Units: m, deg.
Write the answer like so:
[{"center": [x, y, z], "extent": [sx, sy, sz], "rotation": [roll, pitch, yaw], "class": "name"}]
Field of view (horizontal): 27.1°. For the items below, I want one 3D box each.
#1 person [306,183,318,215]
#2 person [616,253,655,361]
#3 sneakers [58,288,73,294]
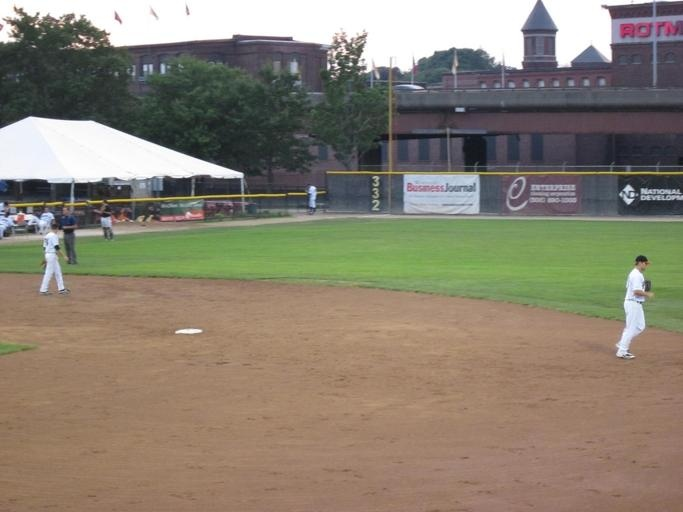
[{"center": [-1.904, -3.339, 85.892], "extent": [0.428, 1.671, 1.491], "rotation": [-1, 4, -7], "class": "person"}, {"center": [9.961, 1.732, 48.698], "extent": [1.187, 3.490, 1.184], "rotation": [0, 5, 7], "class": "person"}, {"center": [-10.832, 1.345, 54.986], "extent": [0.472, 0.149, 0.135], "rotation": [0, 8, 5], "class": "sneakers"}]
